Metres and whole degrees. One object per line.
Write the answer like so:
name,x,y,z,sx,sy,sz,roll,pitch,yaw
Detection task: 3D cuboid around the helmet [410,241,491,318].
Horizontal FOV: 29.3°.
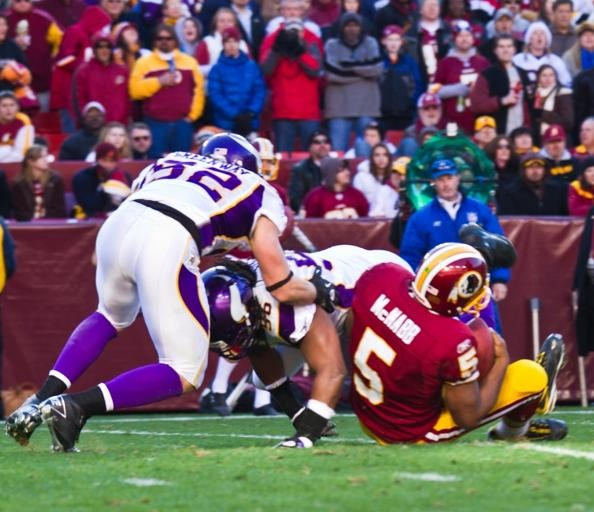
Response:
helmet,0.826,0.175,5.901,0.421,0.322,0.330,-13,30,-16

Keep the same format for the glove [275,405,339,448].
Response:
glove,0.033,0.937,6.234,0.269,0.210,0.583,-1,-2,2

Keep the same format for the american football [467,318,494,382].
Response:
american football,0.976,0.508,6.043,0.192,0.259,0.231,-9,-33,4

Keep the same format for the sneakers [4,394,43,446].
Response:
sneakers,-1.395,0.860,5.835,0.100,0.225,0.224,30,18,-52

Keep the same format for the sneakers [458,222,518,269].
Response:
sneakers,1.185,-0.061,7.089,0.348,0.214,0.151,32,29,23

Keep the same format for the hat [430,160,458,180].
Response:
hat,1.049,-0.631,8.198,0.188,0.133,0.303,-7,-2,4

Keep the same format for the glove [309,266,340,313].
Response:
glove,0.155,0.204,6.227,0.074,0.181,0.189,-37,-48,23

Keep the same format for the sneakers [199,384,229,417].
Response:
sneakers,-0.676,1.126,8.707,0.263,0.126,0.156,23,-5,-12

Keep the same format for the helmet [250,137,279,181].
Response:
helmet,-0.253,-0.792,9.318,0.264,0.305,0.341,0,23,-4

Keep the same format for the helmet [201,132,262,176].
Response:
helmet,-0.382,-0.625,6.566,0.239,0.295,0.270,-11,-12,-1

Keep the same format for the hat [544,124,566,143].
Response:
hat,2.351,-1.123,10.356,0.141,0.115,0.199,-2,-1,12

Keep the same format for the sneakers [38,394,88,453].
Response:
sneakers,-1.219,0.870,5.871,0.134,0.390,0.178,9,20,34
